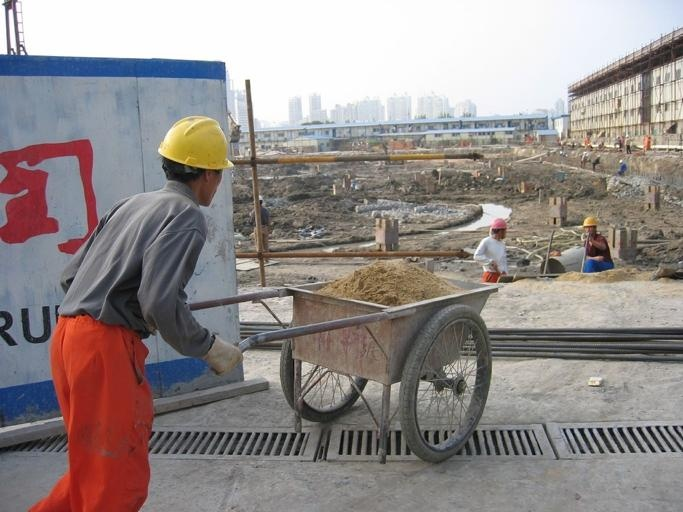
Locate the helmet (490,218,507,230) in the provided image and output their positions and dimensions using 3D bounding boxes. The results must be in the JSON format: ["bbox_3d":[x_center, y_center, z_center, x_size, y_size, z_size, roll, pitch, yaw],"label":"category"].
[{"bbox_3d":[2.188,-0.432,8.850,0.167,0.154,0.317,1,9,23],"label":"helmet"}]

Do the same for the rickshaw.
[{"bbox_3d":[0.153,0.757,4.965,2.083,1.772,1.680,2,8,29],"label":"rickshaw"}]

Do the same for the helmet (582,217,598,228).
[{"bbox_3d":[4.157,-0.535,10.604,0.164,0.187,0.327,2,10,30],"label":"helmet"}]

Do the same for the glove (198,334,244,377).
[{"bbox_3d":[-0.694,0.569,3.684,0.223,0.219,0.257,2,5,-11],"label":"glove"}]

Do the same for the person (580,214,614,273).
[{"bbox_3d":[4.461,-0.225,11.043,0.459,0.957,1.248,1,10,22],"label":"person"}]
